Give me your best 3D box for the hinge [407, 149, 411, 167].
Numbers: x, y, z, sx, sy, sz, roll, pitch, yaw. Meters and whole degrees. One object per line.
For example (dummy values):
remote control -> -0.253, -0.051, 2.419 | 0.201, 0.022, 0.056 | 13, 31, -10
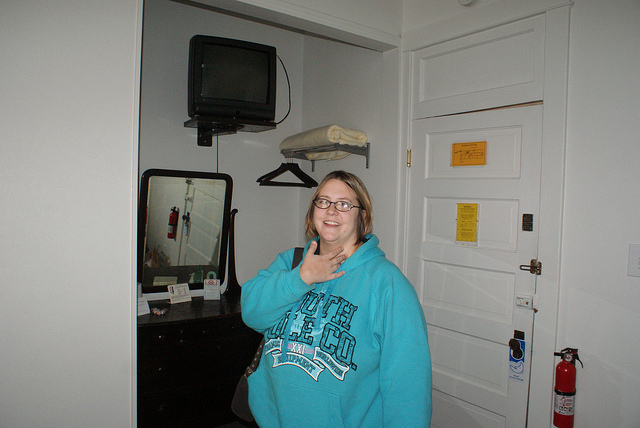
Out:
hinge -> 0.671, -0.431, 3.298 | 0.024, 0.129, 0.010 | 2, 1, 23

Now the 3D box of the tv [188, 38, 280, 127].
tv -> -0.666, -0.997, 3.287 | 0.633, 0.550, 0.355 | 0, 4, -22

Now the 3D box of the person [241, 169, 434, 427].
person -> 0.061, 0.435, 2.109 | 0.935, 1.290, 0.304 | 2, 1, 18

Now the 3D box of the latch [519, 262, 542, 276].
latch -> 1.323, 0.336, 2.739 | 0.127, 0.053, 0.015 | 3, 2, 40

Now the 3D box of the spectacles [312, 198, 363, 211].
spectacles -> 0.083, -0.048, 2.104 | 0.226, 0.058, 0.079 | 1, 2, 4

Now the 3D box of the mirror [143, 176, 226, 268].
mirror -> -1.160, 0.055, 3.602 | 0.692, 0.966, 0.117 | 5, 9, -39

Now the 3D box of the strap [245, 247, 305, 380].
strap -> -0.252, 0.537, 2.300 | 0.314, 0.720, 0.276 | 1, 1, 1
